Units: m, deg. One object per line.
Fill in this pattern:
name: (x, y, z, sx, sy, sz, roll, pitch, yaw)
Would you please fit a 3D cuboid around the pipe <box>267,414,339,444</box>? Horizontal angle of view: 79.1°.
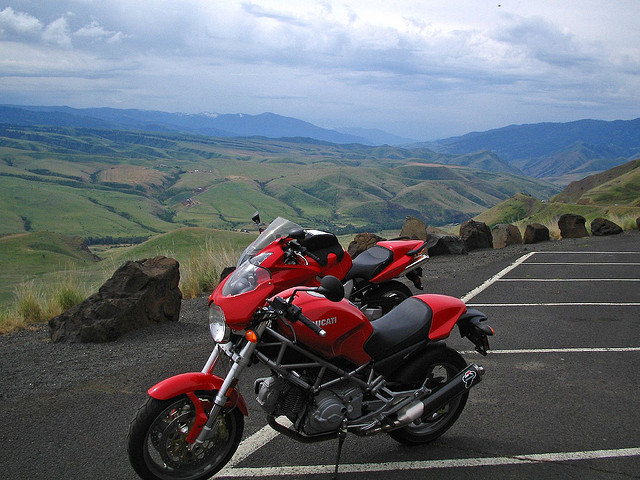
pipe: (-0.172, 1.947, 4.066, 0.737, 0.332, 0.126, -1, 14, 0)
